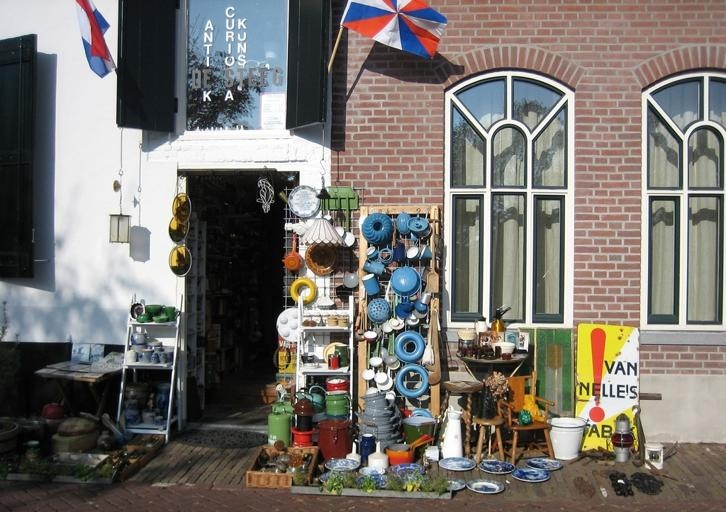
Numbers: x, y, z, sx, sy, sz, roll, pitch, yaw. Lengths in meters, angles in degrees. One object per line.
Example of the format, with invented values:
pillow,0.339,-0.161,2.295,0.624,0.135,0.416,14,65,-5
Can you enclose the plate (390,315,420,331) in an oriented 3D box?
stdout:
plate,0.591,0.982,11.296,0.438,0.220,0.161,2,-4,3

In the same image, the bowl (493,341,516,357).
bowl,2.014,1.319,10.965,0.200,0.171,0.231,0,-7,4

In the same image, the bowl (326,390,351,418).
bowl,-0.360,2.097,10.841,0.359,0.280,0.276,3,-6,-35

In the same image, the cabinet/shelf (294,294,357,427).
cabinet/shelf,-0.537,1.455,11.246,0.814,1.847,0.651,4,0,-5

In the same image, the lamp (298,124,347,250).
lamp,-0.559,-1.066,11.518,0.601,1.850,0.377,2,-4,-3

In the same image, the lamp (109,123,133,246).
lamp,-3.760,-1.101,11.929,0.290,1.875,0.324,1,-13,-18

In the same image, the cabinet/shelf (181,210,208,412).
cabinet/shelf,-2.603,0.908,12.053,0.275,3.172,0.794,2,-4,1

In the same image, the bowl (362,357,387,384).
bowl,0.166,1.666,11.162,0.310,0.411,0.133,13,-28,1

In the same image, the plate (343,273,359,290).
plate,-0.184,0.359,11.486,0.235,0.242,0.149,2,-4,-3

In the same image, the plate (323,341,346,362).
plate,-0.397,1.400,11.237,0.321,0.341,0.199,0,-5,7

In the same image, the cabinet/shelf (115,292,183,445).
cabinet/shelf,-3.145,1.657,11.514,0.870,2.095,0.729,4,3,5

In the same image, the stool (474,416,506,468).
stool,1.767,2.542,10.753,0.481,0.551,0.489,0,4,-12

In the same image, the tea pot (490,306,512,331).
tea pot,2.031,0.926,11.346,0.273,0.387,0.506,1,-4,11

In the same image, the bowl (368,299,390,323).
bowl,0.231,0.806,11.273,0.345,0.358,0.161,2,-4,1

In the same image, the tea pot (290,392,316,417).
tea pot,-0.834,2.078,10.856,0.291,0.282,0.442,2,-4,-4

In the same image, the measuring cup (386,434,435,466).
measuring cup,0.618,2.683,10.645,0.545,0.227,0.319,-1,-2,-42

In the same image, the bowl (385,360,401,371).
bowl,0.431,1.601,11.237,0.155,0.173,0.182,-13,-13,12

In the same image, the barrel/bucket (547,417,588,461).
barrel/bucket,2.871,2.549,10.769,0.484,0.481,0.532,0,-5,0

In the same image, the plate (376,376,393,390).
plate,0.304,1.844,11.204,0.203,0.224,0.203,2,-2,12

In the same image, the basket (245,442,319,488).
basket,-1.094,2.840,10.358,0.913,0.477,0.548,2,-4,5

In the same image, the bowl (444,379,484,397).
bowl,1.432,1.927,11.069,0.566,0.253,0.770,2,-4,6

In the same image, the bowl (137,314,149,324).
bowl,-3.247,0.918,11.393,0.183,0.129,0.065,4,-4,-21

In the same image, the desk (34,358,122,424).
desk,-4.169,2.055,11.433,1.077,0.785,1.096,4,4,19

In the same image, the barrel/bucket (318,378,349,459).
barrel/bucket,-0.374,2.297,10.795,0.455,1.069,0.568,2,-4,4

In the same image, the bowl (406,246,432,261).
bowl,0.822,-0.058,11.332,0.374,0.217,0.194,2,-4,1

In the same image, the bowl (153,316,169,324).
bowl,-3.008,0.938,11.441,0.222,0.100,0.097,4,-4,-25
